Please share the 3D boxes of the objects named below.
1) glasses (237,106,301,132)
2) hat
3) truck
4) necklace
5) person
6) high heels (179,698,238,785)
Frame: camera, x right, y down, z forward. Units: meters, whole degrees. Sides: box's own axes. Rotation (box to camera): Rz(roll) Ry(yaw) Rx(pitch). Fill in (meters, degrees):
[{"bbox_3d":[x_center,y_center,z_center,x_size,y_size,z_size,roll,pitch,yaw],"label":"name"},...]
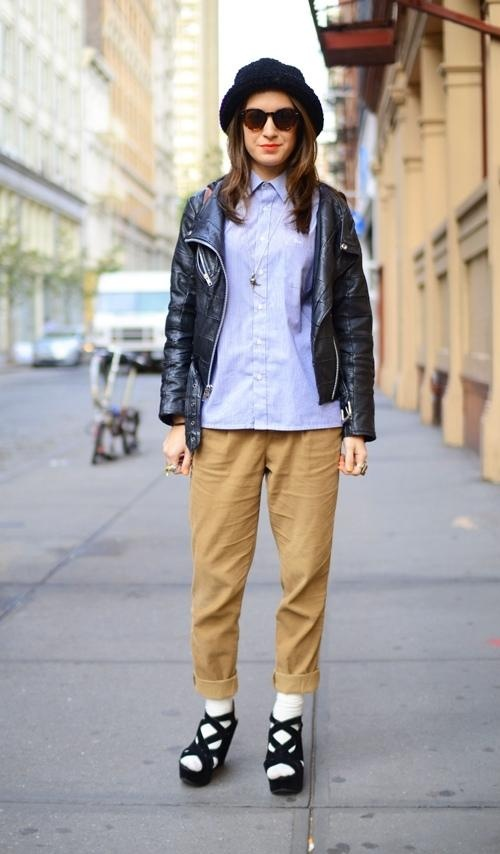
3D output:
[{"bbox_3d":[0.039,-0.715,1.991,0.150,0.065,0.074,1,5,17],"label":"glasses"},{"bbox_3d":[0.048,-0.820,2.076,0.228,0.099,0.314,-6,0,3],"label":"hat"},{"bbox_3d":[-3.976,-4.198,30.459,2.585,2.821,4.857,0,19,-2],"label":"truck"},{"bbox_3d":[0.026,-0.442,1.904,0.129,0.231,0.055,4,-6,9],"label":"necklace"},{"bbox_3d":[0.051,0.014,2.094,0.547,1.755,0.275,-1,4,-7],"label":"person"},{"bbox_3d":[-0.099,0.802,2.167,0.071,0.092,0.222,7,17,16],"label":"high heels"}]
